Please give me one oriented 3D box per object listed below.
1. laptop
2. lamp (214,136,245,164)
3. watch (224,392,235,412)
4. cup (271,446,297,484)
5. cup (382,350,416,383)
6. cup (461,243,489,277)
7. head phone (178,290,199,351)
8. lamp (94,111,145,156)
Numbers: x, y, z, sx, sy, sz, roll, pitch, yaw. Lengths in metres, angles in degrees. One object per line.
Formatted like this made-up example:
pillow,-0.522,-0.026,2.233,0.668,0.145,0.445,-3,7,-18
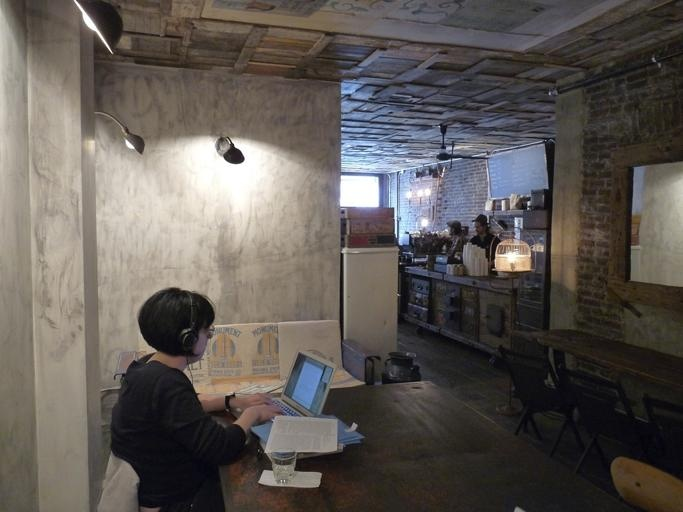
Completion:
laptop,-0.282,0.693,2.838,0.266,0.388,0.436,15,-1,-40
lamp,-0.922,-0.874,4.439,0.241,0.235,0.180,0,12,-10
watch,-0.629,0.824,3.025,0.076,0.078,0.056,4,-3,-40
cup,-0.255,0.947,2.444,0.130,0.140,0.128,1,3,0
cup,0.506,0.967,4.725,0.282,0.270,0.253,0,2,-5
cup,1.724,0.062,6.914,0.378,0.492,0.366,-1,1,0
head phone,-0.721,0.316,2.517,0.092,0.273,0.226,3,-15,-17
lamp,-1.737,-0.961,4.179,0.370,0.330,0.270,-1,12,-13
